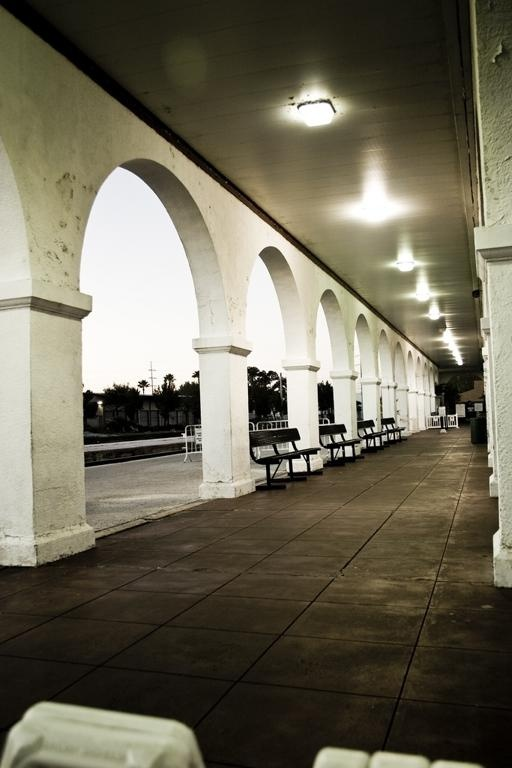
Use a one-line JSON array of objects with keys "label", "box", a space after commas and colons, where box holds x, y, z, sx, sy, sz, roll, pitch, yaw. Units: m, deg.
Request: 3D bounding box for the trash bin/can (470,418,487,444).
[{"label": "trash bin/can", "box": [7.764, 1.628, 19.882, 0.500, 0.894, 1.303, -3, -3, 22]}]
